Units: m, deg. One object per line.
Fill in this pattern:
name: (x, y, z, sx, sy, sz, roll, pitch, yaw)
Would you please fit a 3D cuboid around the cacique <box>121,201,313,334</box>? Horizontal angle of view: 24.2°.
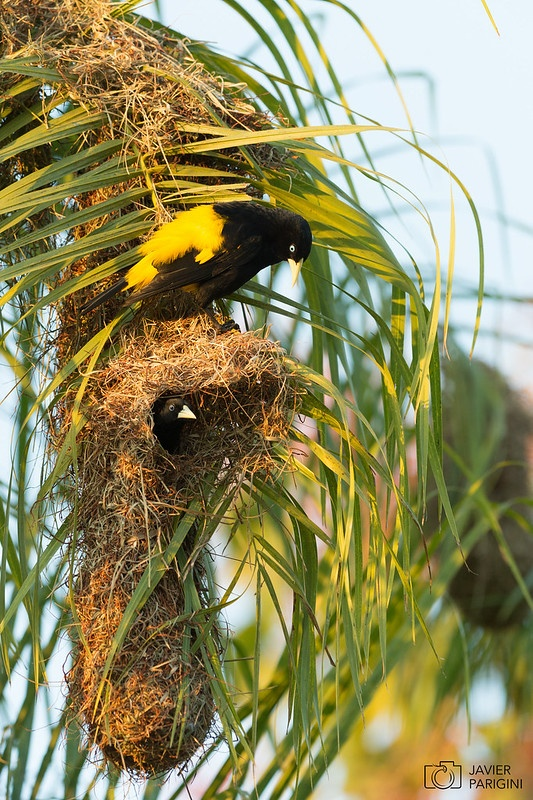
cacique: (-0.055, -0.287, 2.687, 0.552, 0.320, 0.212, 3, 8, -24)
